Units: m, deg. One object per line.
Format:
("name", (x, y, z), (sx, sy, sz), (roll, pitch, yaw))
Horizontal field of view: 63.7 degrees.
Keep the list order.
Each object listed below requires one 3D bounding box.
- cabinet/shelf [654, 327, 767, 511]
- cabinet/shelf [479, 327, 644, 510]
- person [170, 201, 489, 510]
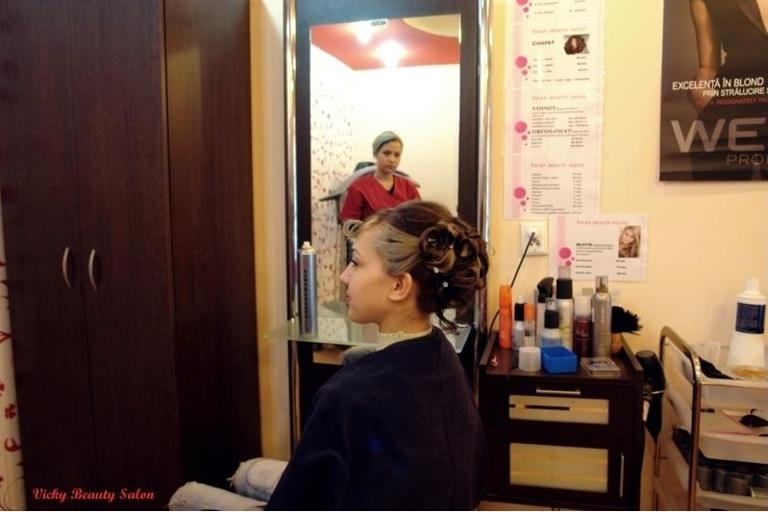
("cabinet/shelf", (1.310, 0.715, 2.538), (0.335, 0.829, 0.518), (-1, 4, 10))
("cabinet/shelf", (0.721, 0.601, 2.773), (0.776, 0.756, 0.576), (0, 0, 11))
("person", (-0.064, 0.379, 2.446), (0.948, 1.080, 0.849), (-1, -8, 26))
